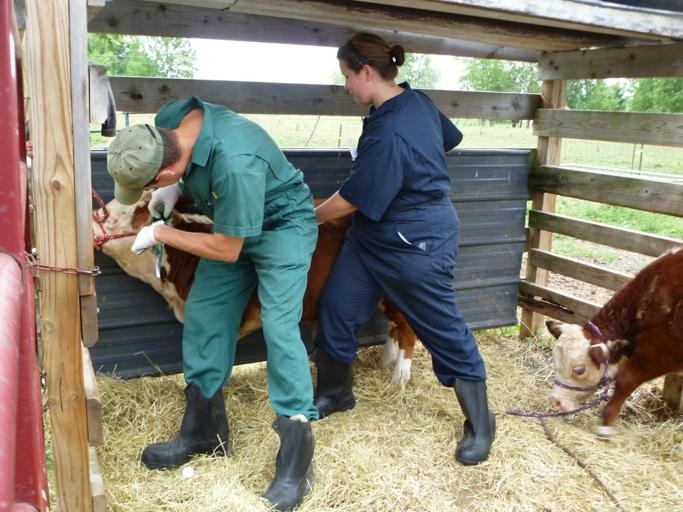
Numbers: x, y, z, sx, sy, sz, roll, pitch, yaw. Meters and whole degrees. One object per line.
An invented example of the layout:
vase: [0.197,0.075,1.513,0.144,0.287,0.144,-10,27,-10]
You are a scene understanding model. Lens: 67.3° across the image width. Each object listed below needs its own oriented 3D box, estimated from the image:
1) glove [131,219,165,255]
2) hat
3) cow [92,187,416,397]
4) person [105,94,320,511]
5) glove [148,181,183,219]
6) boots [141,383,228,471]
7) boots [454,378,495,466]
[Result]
glove: [-1.029,-0.098,2.739,0.182,0.076,0.157,-18,51,21]
hat: [-0.959,-0.417,2.408,0.241,0.379,0.227,-3,15,-21]
cow: [-0.413,0.301,3.648,2.508,1.162,0.638,4,9,-13]
person: [-0.613,0.209,2.788,1.029,2.042,0.861,3,14,0]
glove: [-1.021,-0.330,3.074,0.226,0.140,0.104,-11,40,12]
boots: [-0.928,0.992,3.026,0.545,0.410,0.213,6,-8,-40]
boots: [0.817,1.025,3.197,0.211,0.443,0.486,-5,9,27]
